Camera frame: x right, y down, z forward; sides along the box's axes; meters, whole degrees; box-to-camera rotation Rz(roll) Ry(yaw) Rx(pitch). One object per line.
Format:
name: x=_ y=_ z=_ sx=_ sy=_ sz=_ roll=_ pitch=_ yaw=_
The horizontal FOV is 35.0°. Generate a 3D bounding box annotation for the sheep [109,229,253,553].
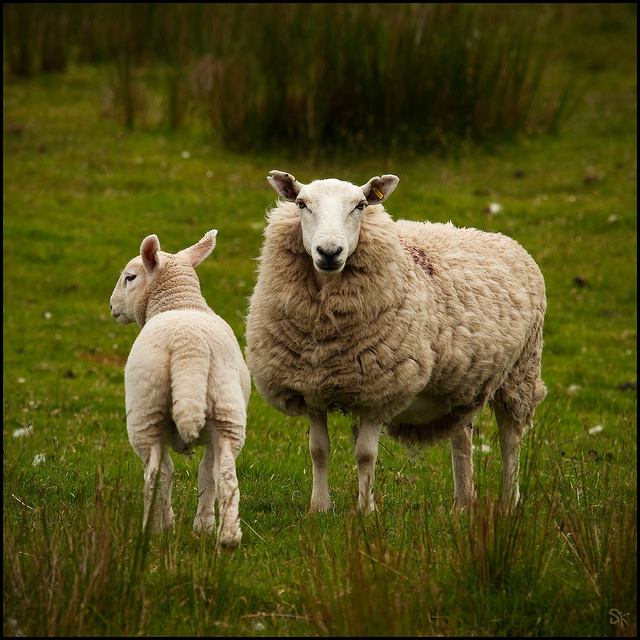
sheep: x=-0.889 y=0.406 z=6.764 sx=0.808 sy=2.234 sz=2.969 roll=0 pitch=-2 yaw=-14

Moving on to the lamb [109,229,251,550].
lamb: x=-0.930 y=0.504 z=6.741 sx=0.816 sy=2.184 sz=1.658 roll=-4 pitch=21 yaw=-5

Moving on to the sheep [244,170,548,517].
sheep: x=0.536 y=0.168 z=6.911 sx=2.066 sy=2.259 sz=1.135 roll=-7 pitch=19 yaw=-27
